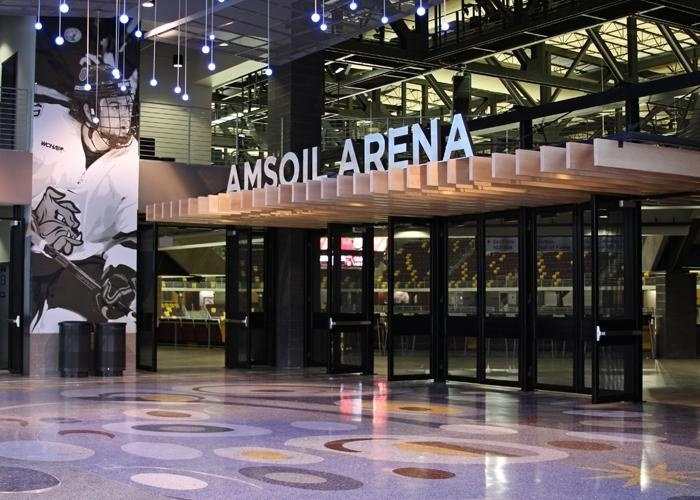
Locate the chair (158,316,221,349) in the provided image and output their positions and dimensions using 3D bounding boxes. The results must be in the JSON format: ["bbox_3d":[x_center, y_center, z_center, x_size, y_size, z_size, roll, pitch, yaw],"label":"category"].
[{"bbox_3d":[-5.698,2.947,23.532,1.110,0.950,3.666,1,-2,-36],"label":"chair"}]

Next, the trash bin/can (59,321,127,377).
[{"bbox_3d":[-5.224,2.002,13.457,1.229,1.110,0.486,0,-2,-23],"label":"trash bin/can"}]
